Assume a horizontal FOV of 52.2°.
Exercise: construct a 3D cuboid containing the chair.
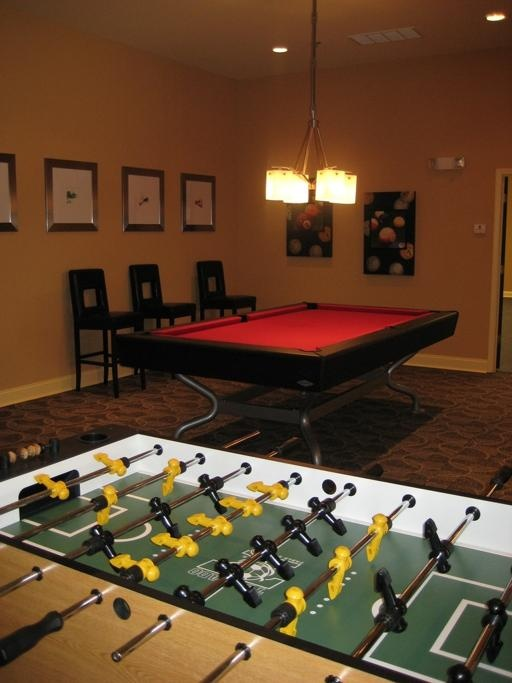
[{"bbox_3d":[-1.111,-0.221,5.732,0.811,1.275,1.933,3,9,39],"label":"chair"}]
